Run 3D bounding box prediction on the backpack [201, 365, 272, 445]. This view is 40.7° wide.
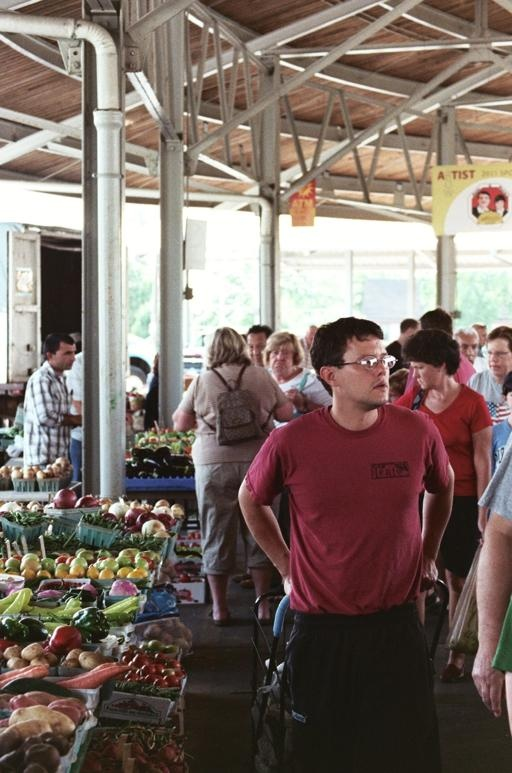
[{"bbox_3d":[-0.116,0.107,4.218,0.363,0.423,0.323,-5,7,-28],"label":"backpack"}]

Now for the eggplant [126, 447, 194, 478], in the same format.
[{"bbox_3d":[-0.729,0.575,5.266,0.433,0.234,0.179,2,6,13],"label":"eggplant"}]

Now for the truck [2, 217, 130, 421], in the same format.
[{"bbox_3d":[-3.765,-1.496,12.237,0.705,2.641,1.987,-1,3,3],"label":"truck"}]

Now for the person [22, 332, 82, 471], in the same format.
[{"bbox_3d":[-1.810,0.146,6.151,0.470,1.216,0.499,5,7,-12],"label":"person"}]
